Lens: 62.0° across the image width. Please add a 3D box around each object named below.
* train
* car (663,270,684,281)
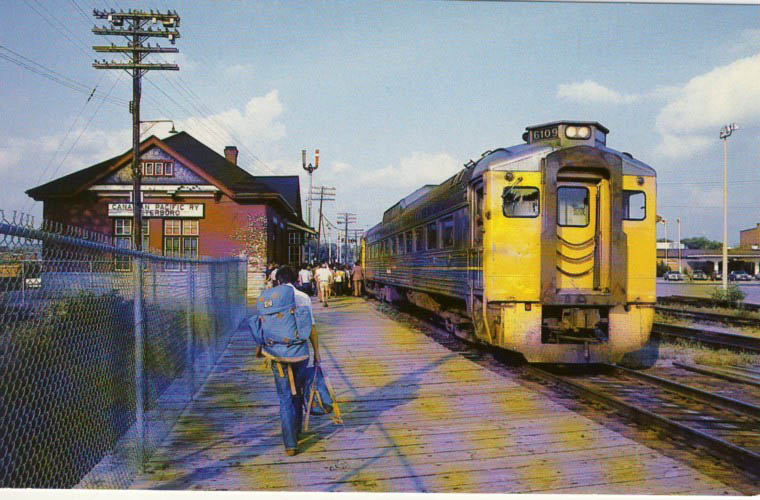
[{"bbox_3d":[2.353,-0.215,14.599,2.807,4.958,7.785,-1,6,-20],"label":"train"},{"bbox_3d":[30.348,2.740,66.070,1.024,0.642,1.704,0,-6,-1],"label":"car"}]
